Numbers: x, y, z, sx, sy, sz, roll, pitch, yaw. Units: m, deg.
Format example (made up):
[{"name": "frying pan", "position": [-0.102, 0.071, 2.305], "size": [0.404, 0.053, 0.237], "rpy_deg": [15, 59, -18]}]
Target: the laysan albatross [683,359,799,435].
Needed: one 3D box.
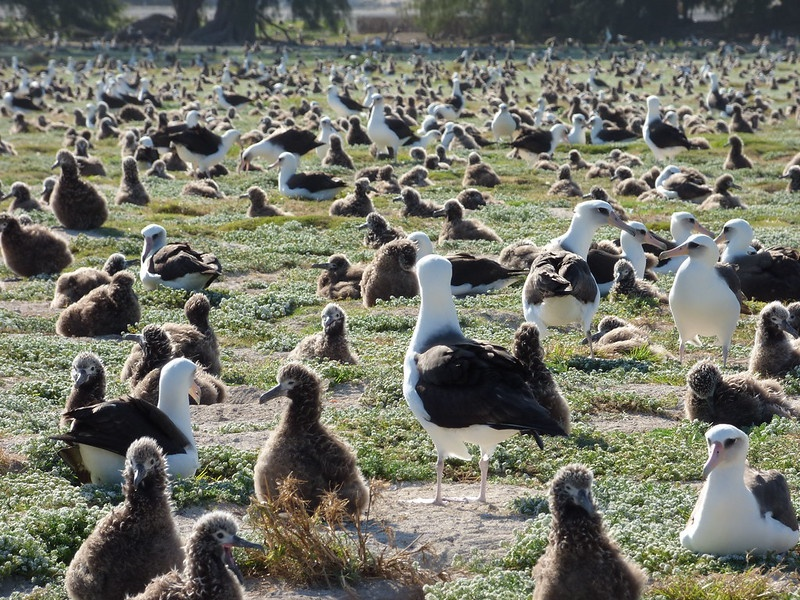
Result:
[{"name": "laysan albatross", "position": [7.776, 2.144, 37.097], "size": [2.500, 1.228, 1.404], "rpy_deg": [-14, 8, -43]}]
